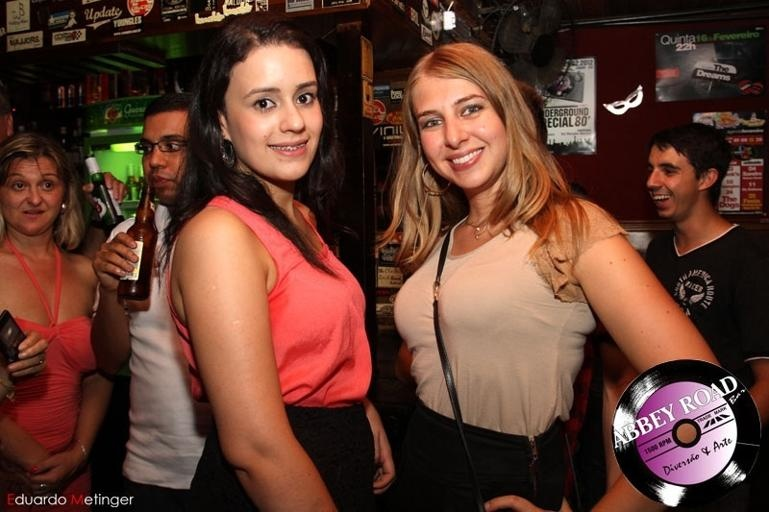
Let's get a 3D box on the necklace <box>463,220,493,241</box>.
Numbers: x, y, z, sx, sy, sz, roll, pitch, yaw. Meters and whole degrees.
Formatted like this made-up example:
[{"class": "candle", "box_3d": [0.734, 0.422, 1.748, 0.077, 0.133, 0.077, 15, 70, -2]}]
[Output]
[{"class": "necklace", "box_3d": [0.427, -0.118, 2.648, 0.063, 0.026, 0.085, -32, 44, -16]}]
